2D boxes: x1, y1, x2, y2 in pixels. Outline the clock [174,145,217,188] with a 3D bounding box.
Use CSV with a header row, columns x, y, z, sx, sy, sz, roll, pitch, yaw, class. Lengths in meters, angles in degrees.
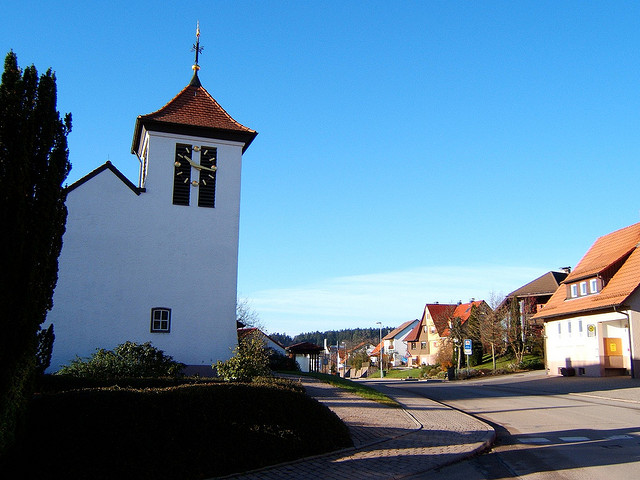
x,y,z,sx,sy,sz,roll,pitch,yaw,class
-5.728,-3.273,26.202,1.825,2.169,0.282,-1,-11,-28,clock
